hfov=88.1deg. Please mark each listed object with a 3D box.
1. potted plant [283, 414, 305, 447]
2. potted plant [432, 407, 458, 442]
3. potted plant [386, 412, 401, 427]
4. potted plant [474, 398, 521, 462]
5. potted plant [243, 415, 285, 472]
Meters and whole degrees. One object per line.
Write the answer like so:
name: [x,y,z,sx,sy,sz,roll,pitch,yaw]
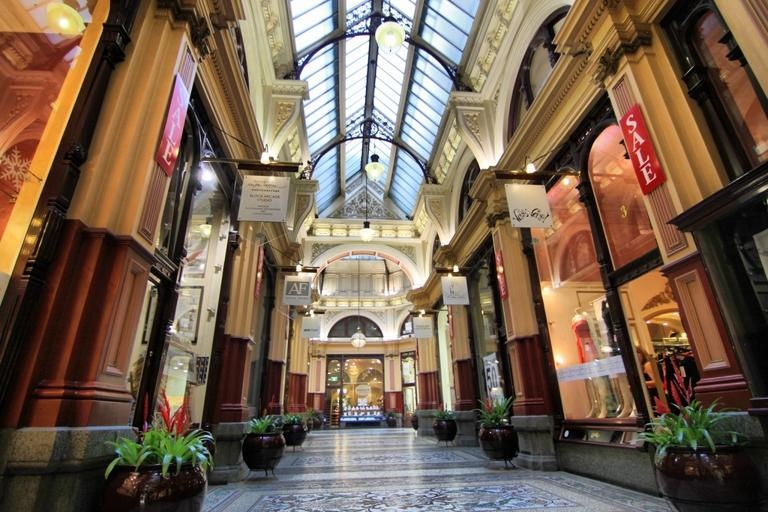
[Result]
potted plant: [-2.319,4.391,10.161,0.575,0.730,0.750,4,-24,-13]
potted plant: [1.535,4.297,10.220,0.775,1.010,0.862,1,-21,-1]
potted plant: [0.522,8.638,21.320,0.649,0.682,0.678,-7,-7,14]
potted plant: [2.195,3.295,7.653,0.668,1.169,1.553,-8,-25,15]
potted plant: [-1.984,3.135,6.779,0.846,1.023,0.773,2,-14,-10]
